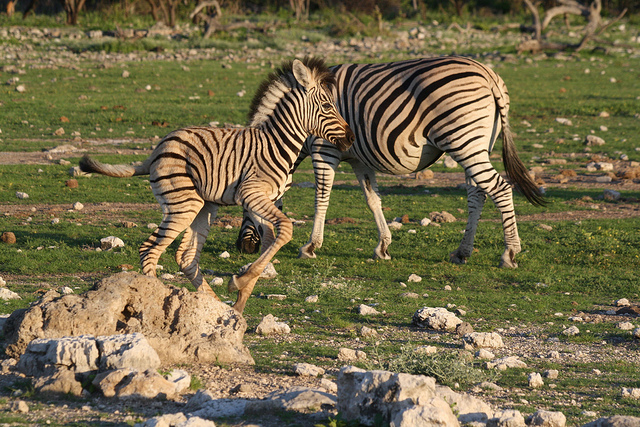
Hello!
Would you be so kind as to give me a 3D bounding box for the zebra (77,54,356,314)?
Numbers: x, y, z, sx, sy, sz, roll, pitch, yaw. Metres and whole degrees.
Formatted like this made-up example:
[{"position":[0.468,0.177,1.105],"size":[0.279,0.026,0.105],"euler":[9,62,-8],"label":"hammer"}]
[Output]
[{"position":[-2.484,-1.076,41.880],"size":[6.294,7.273,4.089],"euler":[3,11,-9],"label":"zebra"}]
